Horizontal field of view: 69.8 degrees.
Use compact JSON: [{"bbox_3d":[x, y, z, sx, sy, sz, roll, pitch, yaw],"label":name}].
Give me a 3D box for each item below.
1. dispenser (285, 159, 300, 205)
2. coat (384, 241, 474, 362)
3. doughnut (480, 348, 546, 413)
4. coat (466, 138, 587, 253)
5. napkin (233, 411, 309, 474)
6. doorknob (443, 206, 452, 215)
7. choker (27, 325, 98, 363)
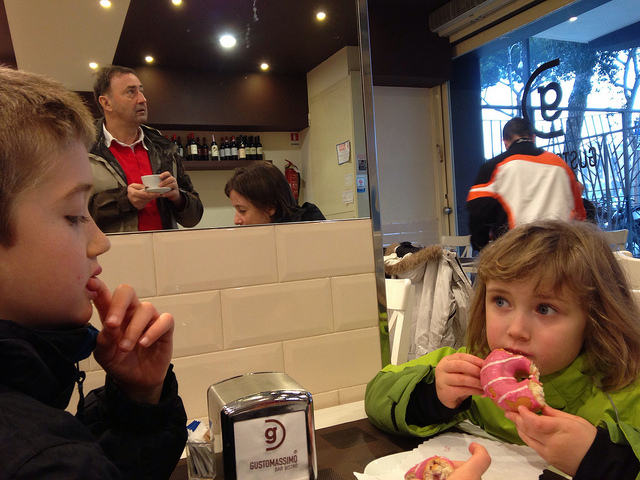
[{"bbox_3d":[-0.090,-0.190,1.523,0.047,0.160,0.037,-1,34,-2],"label":"dispenser"},{"bbox_3d":[0.553,0.307,2.320,0.427,0.550,0.196,-1,10,17],"label":"coat"},{"bbox_3d":[0.363,0.260,0.860,0.100,0.047,0.121,-15,40,-3],"label":"doughnut"},{"bbox_3d":[1.606,-0.294,3.448,0.850,0.872,0.481,7,-15,17],"label":"coat"},{"bbox_3d":[-0.082,0.313,0.712,0.096,0.104,0.011,-2,-3,-16],"label":"napkin"},{"bbox_3d":[1.332,-0.306,4.743,0.087,0.085,0.040,2,11,29],"label":"doorknob"},{"bbox_3d":[-0.399,0.153,0.703,0.067,0.042,0.053,15,6,-3],"label":"choker"}]
